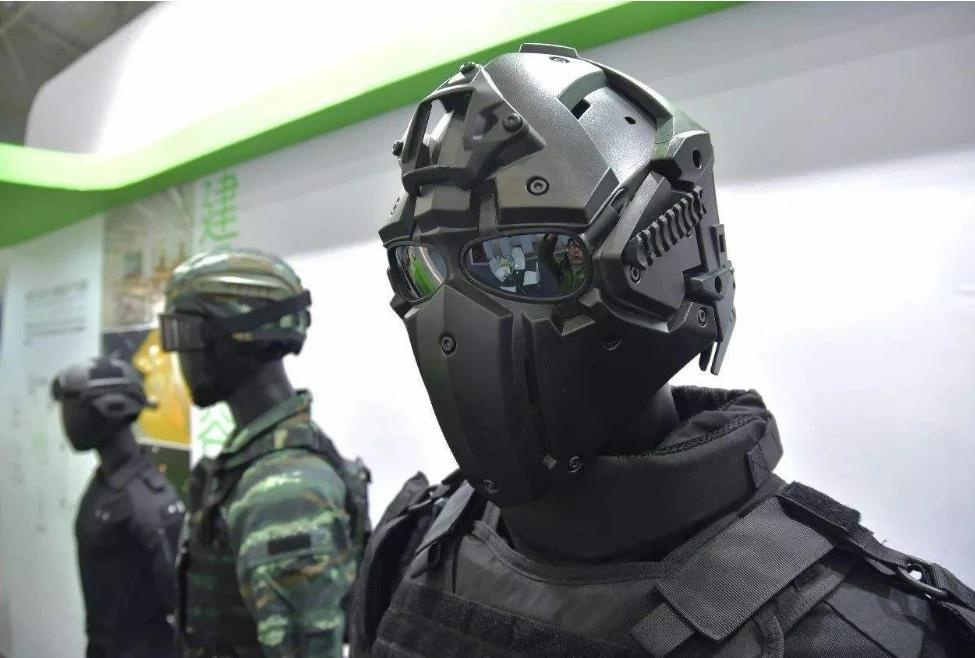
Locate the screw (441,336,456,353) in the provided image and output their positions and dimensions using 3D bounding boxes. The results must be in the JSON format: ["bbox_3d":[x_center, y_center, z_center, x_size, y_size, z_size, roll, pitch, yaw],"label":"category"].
[{"bbox_3d":[-0.075,0.029,1.673,0.029,0.031,0.010,27,17,27],"label":"screw"}]

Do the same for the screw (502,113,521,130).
[{"bbox_3d":[0.044,-0.391,1.640,0.030,0.031,0.011,36,7,18],"label":"screw"}]

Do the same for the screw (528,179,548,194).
[{"bbox_3d":[0.096,-0.270,1.637,0.039,0.031,0.010,-2,5,-4],"label":"screw"}]

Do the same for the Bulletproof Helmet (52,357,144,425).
[{"bbox_3d":[-1.119,0.175,2.510,0.308,0.183,0.098,0,5,16],"label":"Bulletproof Helmet"}]
